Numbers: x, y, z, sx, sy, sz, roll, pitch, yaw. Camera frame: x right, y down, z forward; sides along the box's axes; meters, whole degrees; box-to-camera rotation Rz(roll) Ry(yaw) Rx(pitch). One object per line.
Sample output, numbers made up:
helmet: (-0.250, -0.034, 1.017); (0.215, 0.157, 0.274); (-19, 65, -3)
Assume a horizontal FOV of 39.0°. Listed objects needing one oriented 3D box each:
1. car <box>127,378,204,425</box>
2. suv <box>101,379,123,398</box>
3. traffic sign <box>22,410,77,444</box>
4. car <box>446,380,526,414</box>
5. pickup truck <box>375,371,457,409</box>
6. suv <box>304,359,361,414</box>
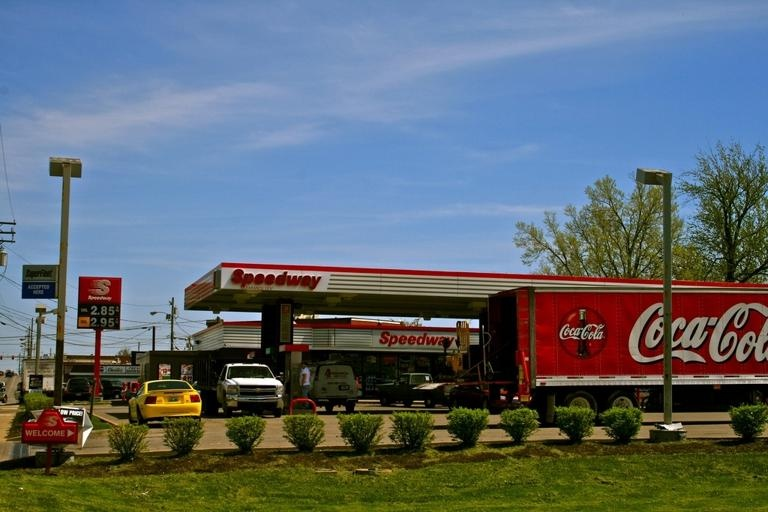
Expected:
car: (-8.575, 5.649, 42.197); (1.980, 1.534, 4.670); (2, -5, -30)
suv: (-18.742, 9.215, 74.767); (1.356, 1.145, 2.438); (-1, 3, -14)
traffic sign: (-9.846, 5.106, 32.208); (1.345, 0.835, 0.218); (0, -15, -7)
car: (3.977, 5.537, 42.700); (1.446, 1.437, 4.514); (-2, 3, -22)
pickup truck: (1.659, 6.796, 54.732); (1.857, 1.254, 3.780); (4, -5, -43)
suv: (-2.958, 6.119, 51.231); (2.156, 2.151, 4.278); (2, -4, -23)
